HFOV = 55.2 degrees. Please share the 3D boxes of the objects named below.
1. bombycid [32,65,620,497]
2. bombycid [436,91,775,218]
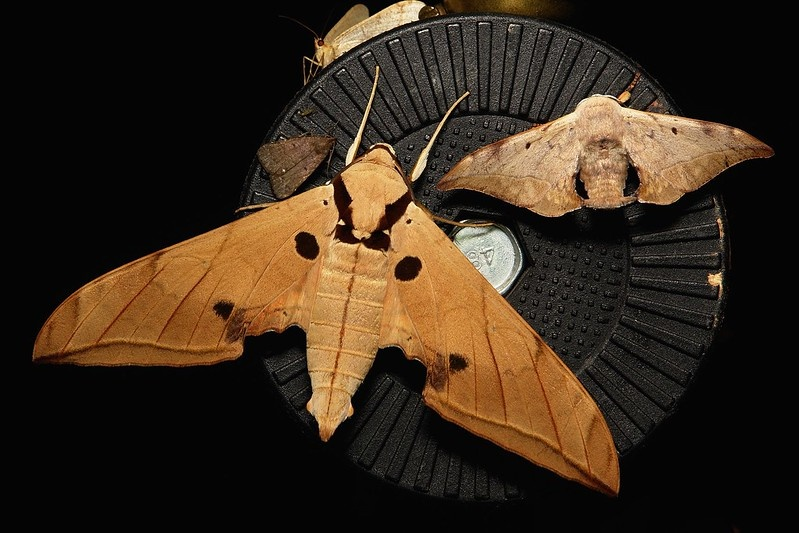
[{"bbox_3d":[-0.080,0.018,1.796,1.326,0.758,0.226,16,-5,0],"label":"bombycid"},{"bbox_3d":[0.476,-0.278,1.826,0.767,0.299,0.194,-4,-40,-10],"label":"bombycid"}]
